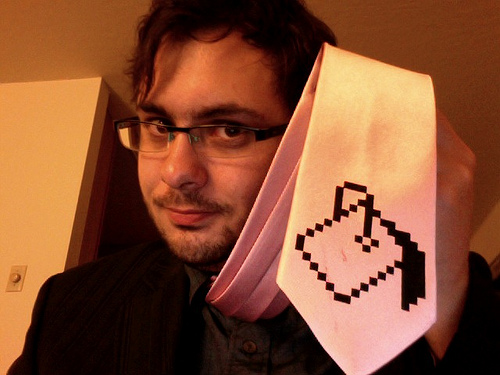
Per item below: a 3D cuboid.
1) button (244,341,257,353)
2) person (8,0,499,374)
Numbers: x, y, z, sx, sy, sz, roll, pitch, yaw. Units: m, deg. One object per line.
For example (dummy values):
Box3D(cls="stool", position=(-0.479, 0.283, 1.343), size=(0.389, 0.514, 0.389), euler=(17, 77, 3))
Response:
Box3D(cls="button", position=(0.002, 0.500, 1.582), size=(0.042, 0.030, 0.020), euler=(1, 6, 11))
Box3D(cls="person", position=(-0.008, -0.097, 2.208), size=(1.295, 1.498, 0.470), euler=(1, -6, 19))
